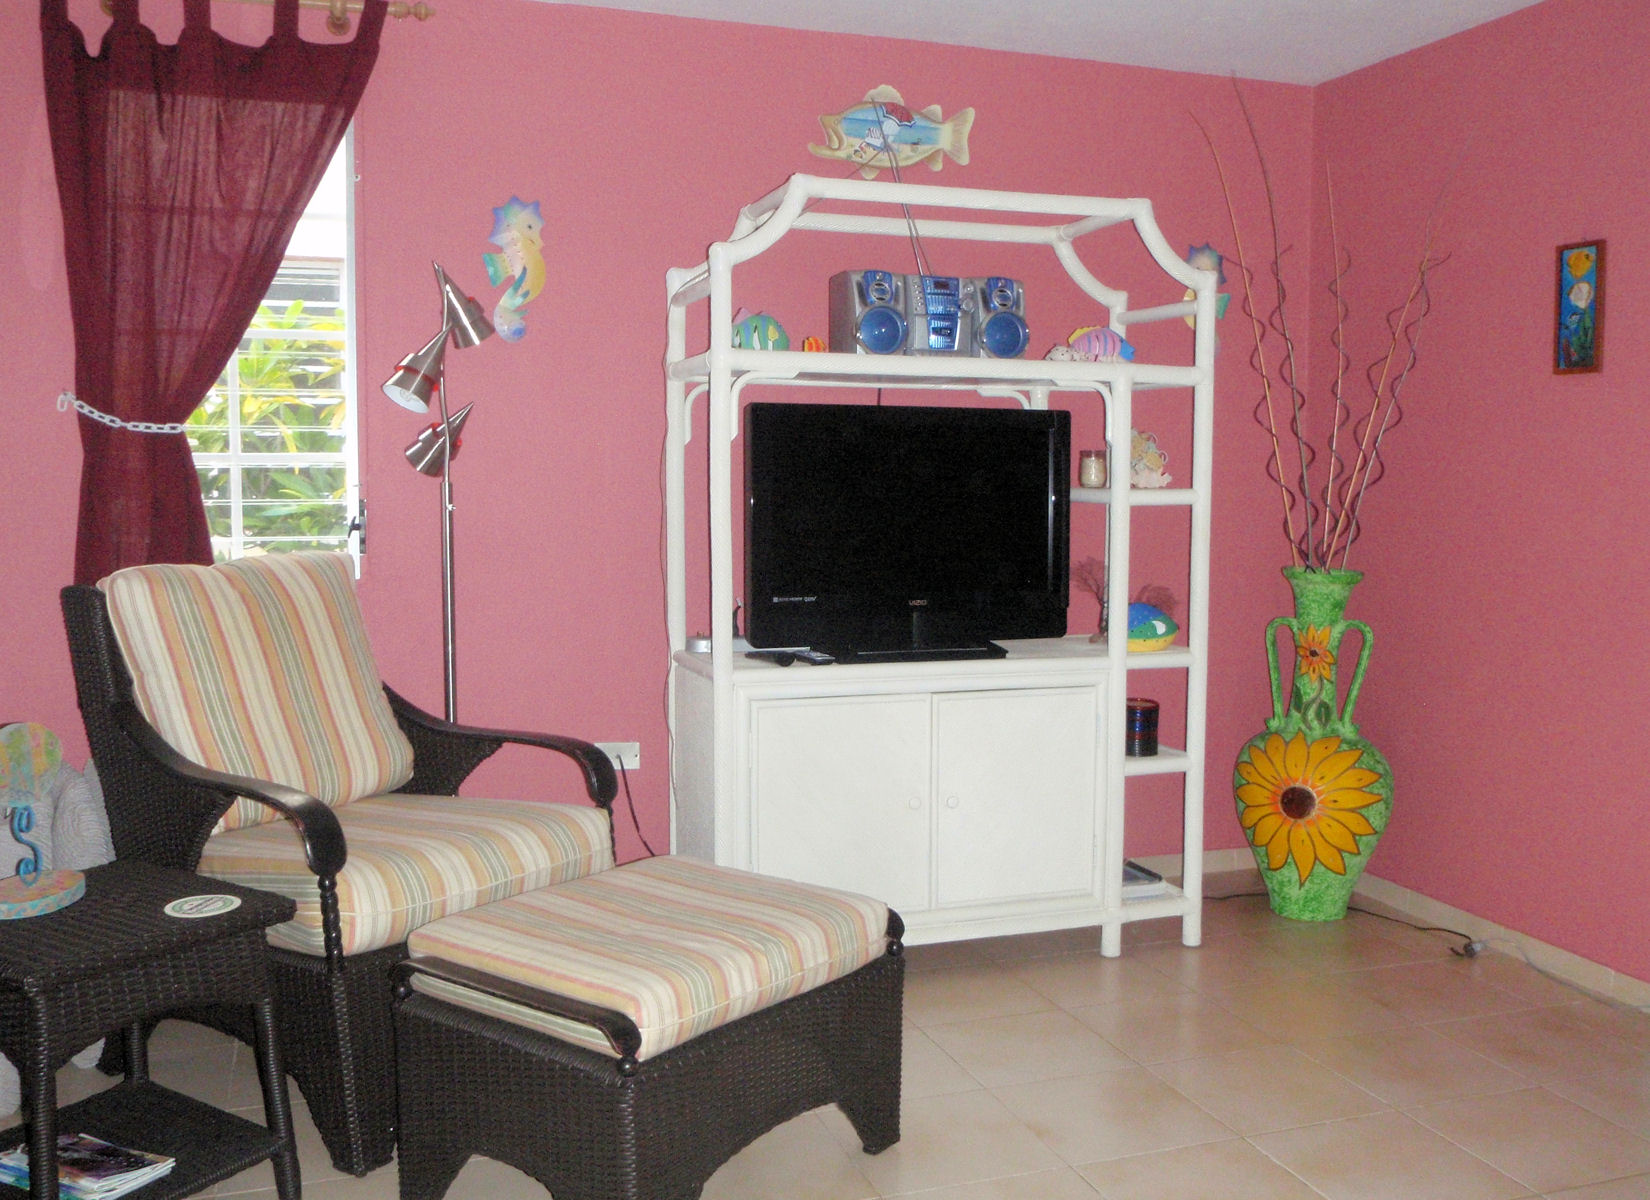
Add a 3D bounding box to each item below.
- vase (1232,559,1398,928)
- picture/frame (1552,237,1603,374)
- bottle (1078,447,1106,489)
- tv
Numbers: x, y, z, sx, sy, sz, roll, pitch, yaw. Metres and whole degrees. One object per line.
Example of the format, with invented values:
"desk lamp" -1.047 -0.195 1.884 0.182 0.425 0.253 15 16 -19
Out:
"vase" 1.622 0.485 4.594 0.481 1.180 0.274 5 13 22
"picture/frame" 2.266 -0.878 4.179 0.043 0.395 0.187 -4 13 -19
"bottle" 0.871 -0.423 4.497 0.112 0.131 0.116 1 -1 34
"tv" 0.229 -0.207 4.271 0.799 0.576 0.237 0 1 -14
